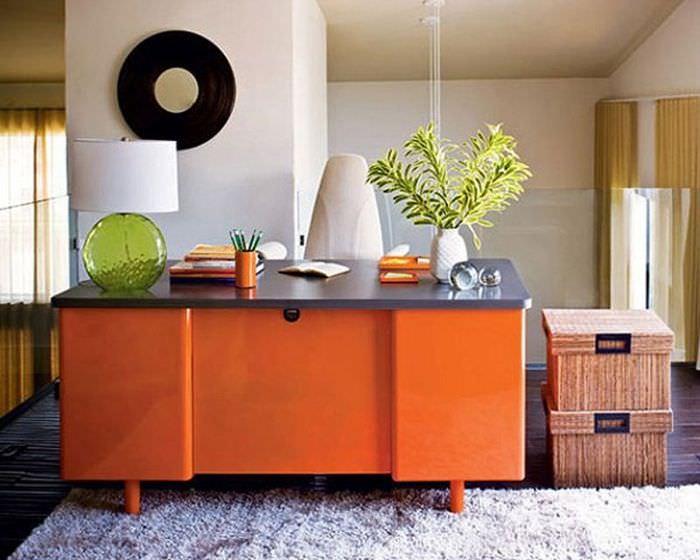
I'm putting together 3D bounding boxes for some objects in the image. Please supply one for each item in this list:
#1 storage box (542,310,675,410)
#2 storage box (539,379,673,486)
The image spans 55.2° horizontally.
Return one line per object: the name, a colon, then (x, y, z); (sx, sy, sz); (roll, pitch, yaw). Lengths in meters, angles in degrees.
storage box: (1.056, 0.392, 2.746); (0.562, 0.296, 0.570); (-9, -14, 43)
storage box: (0.988, 0.589, 2.587); (0.330, 0.226, 0.346); (-1, 3, 3)
